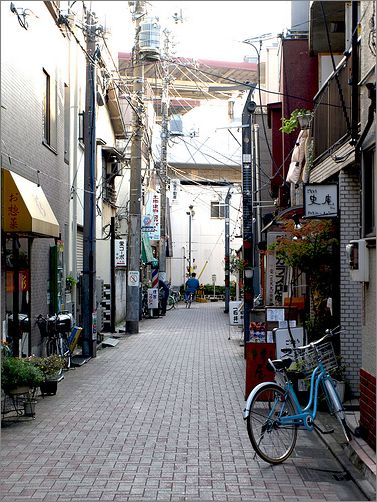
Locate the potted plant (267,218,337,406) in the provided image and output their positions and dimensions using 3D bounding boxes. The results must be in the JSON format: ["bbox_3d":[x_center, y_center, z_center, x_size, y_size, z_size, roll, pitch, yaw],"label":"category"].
[{"bbox_3d":[1.937,0.768,10.408,1.014,2.678,0.940,-17,-21,39],"label":"potted plant"}]

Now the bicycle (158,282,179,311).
[{"bbox_3d":[-1.416,2.649,36.734,1.500,1.193,0.848,0,5,4],"label":"bicycle"}]

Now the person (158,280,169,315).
[{"bbox_3d":[-1.208,2.265,30.893,0.401,1.671,1.270,-3,-4,-2],"label":"person"}]

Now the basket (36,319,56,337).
[{"bbox_3d":[-2.763,1.489,12.427,0.331,0.426,0.279,0,1,-4],"label":"basket"}]

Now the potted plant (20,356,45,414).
[{"bbox_3d":[-2.035,1.686,8.245,0.229,0.646,0.306,7,-12,-19],"label":"potted plant"}]

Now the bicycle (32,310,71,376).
[{"bbox_3d":[-2.768,1.869,13.127,0.598,1.116,1.588,-15,0,-33],"label":"bicycle"}]

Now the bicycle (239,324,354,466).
[{"bbox_3d":[1.136,1.422,6.345,1.385,1.129,0.607,1,-24,-30],"label":"bicycle"}]
